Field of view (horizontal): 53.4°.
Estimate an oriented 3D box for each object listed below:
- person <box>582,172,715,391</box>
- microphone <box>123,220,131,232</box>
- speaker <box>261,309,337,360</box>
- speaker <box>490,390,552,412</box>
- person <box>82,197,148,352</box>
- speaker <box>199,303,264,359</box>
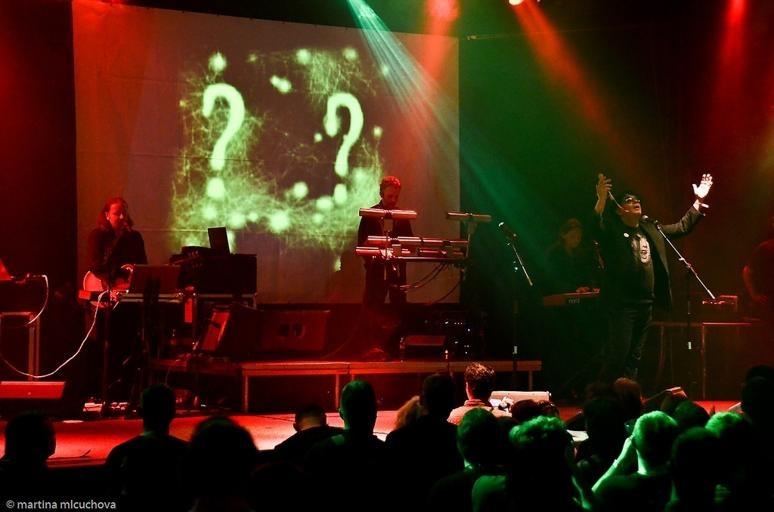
[{"bbox_3d":[2.808,0.257,8.555,1.210,2.283,1.173,5,-9,-8],"label":"person"},{"bbox_3d":[-3.125,-0.344,9.247,0.052,0.110,0.113,-16,-17,41],"label":"microphone"},{"bbox_3d":[-1.095,0.913,9.006,0.734,0.554,0.356,4,-9,-3],"label":"speaker"},{"bbox_3d":[1.158,1.284,6.764,0.492,0.166,0.632,2,-9,7],"label":"speaker"},{"bbox_3d":[-3.155,0.231,8.988,0.839,1.677,0.247,2,-8,-40],"label":"person"},{"bbox_3d":[-1.815,0.870,8.745,0.715,0.605,0.439,4,-9,-1],"label":"speaker"}]
